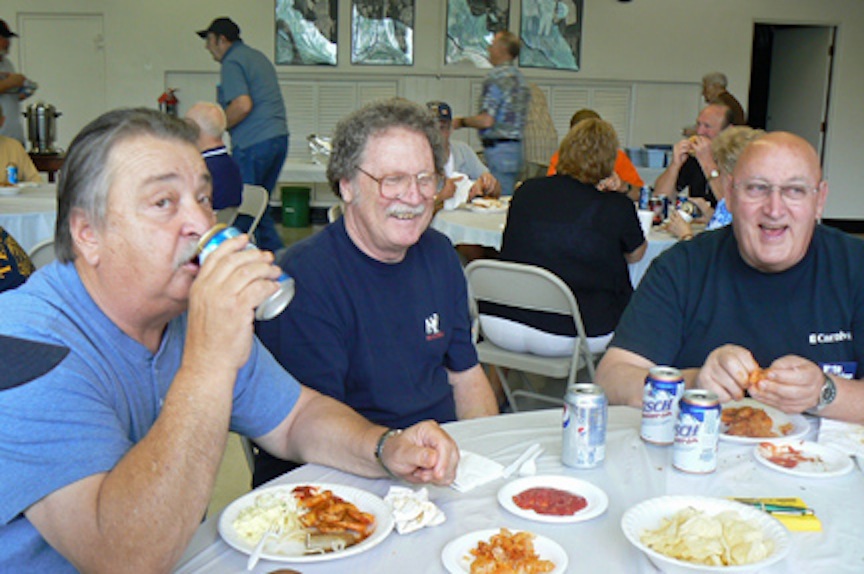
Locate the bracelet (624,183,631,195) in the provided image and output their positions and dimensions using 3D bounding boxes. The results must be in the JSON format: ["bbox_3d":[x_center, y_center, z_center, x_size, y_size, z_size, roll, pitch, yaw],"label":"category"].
[{"bbox_3d":[1.314,-0.657,4.541,0.065,0.082,0.048,-2,36,8],"label":"bracelet"}]

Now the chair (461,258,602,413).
[{"bbox_3d":[0.423,0.172,2.871,0.460,0.777,0.579,10,37,27],"label":"chair"}]

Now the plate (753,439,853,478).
[{"bbox_3d":[0.826,0.381,1.507,0.101,0.013,0.097,1,17,7],"label":"plate"}]

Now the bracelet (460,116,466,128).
[{"bbox_3d":[0.263,-1.396,5.742,0.078,0.071,0.068,2,52,-3],"label":"bracelet"}]

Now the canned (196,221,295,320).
[{"bbox_3d":[-0.348,-0.018,1.295,0.165,0.206,0.149,-11,21,-27],"label":"canned"}]

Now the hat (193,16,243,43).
[{"bbox_3d":[-1.724,-2.093,5.545,0.281,0.174,0.176,0,18,3],"label":"hat"}]
